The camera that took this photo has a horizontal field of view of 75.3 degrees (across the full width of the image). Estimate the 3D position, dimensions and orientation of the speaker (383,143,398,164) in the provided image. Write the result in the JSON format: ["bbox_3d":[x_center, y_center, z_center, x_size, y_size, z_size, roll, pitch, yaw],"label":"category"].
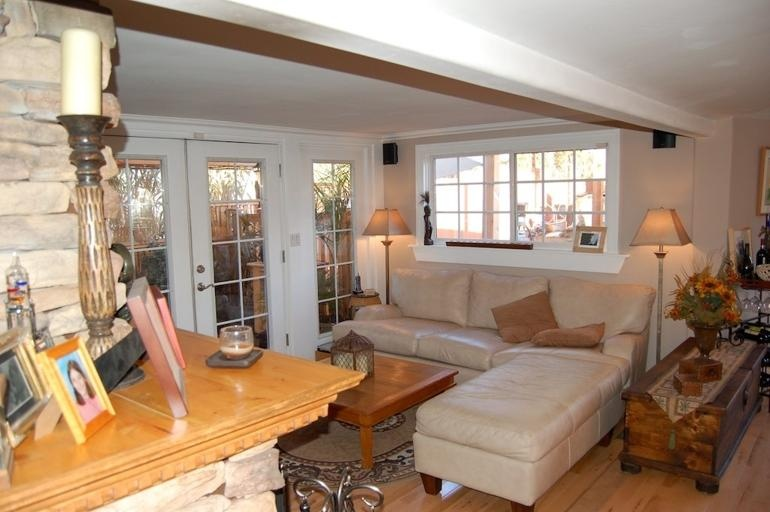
[{"bbox_3d":[0.059,-1.230,5.991,0.213,0.275,0.109,15,16,36],"label":"speaker"}]

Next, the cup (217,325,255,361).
[{"bbox_3d":[-0.492,0.285,1.608,0.122,0.079,0.116,-4,-8,-1],"label":"cup"}]

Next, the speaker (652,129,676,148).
[{"bbox_3d":[2.420,-1.017,4.321,0.235,0.195,0.120,2,10,23],"label":"speaker"}]

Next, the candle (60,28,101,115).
[{"bbox_3d":[-0.726,-0.437,1.194,0.080,0.206,0.049,-1,16,-30],"label":"candle"}]

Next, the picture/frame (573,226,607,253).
[{"bbox_3d":[2.007,-0.156,4.863,0.276,0.240,0.150,1,9,40],"label":"picture/frame"}]

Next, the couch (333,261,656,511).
[{"bbox_3d":[1.049,0.877,3.825,2.095,0.825,1.896,2,4,40],"label":"couch"}]

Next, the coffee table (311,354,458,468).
[{"bbox_3d":[0.013,0.991,3.612,1.181,0.436,1.167,2,6,38],"label":"coffee table"}]

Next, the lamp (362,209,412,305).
[{"bbox_3d":[0.006,0.068,6.031,0.742,1.186,0.693,0,4,10],"label":"lamp"}]
